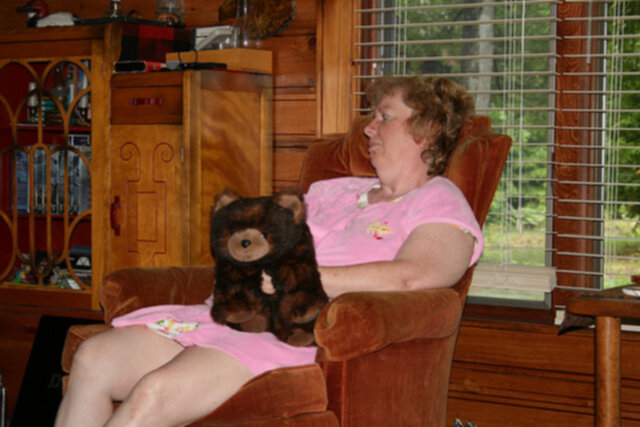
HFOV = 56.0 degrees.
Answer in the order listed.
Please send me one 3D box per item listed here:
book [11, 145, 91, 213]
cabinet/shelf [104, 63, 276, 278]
[{"bbox_3d":[-1.451,-0.198,3.290,0.370,0.308,0.130,2,6,16],"label":"book"},{"bbox_3d":[-0.702,-0.200,3.269,0.688,1.122,0.745,6,9,40],"label":"cabinet/shelf"}]
